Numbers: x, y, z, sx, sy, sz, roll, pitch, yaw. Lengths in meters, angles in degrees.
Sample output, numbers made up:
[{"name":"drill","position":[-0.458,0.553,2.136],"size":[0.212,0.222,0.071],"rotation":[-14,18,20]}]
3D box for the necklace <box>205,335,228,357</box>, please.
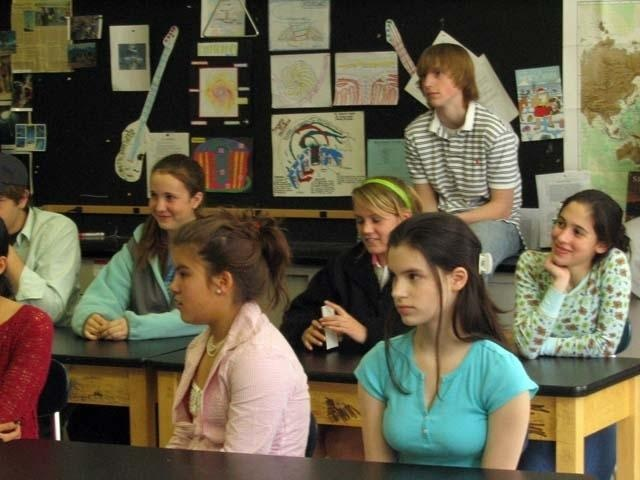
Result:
[{"name":"necklace","position":[-0.277,0.293,1.763],"size":[0.020,0.053,0.050],"rotation":[25,-8,-34]}]
